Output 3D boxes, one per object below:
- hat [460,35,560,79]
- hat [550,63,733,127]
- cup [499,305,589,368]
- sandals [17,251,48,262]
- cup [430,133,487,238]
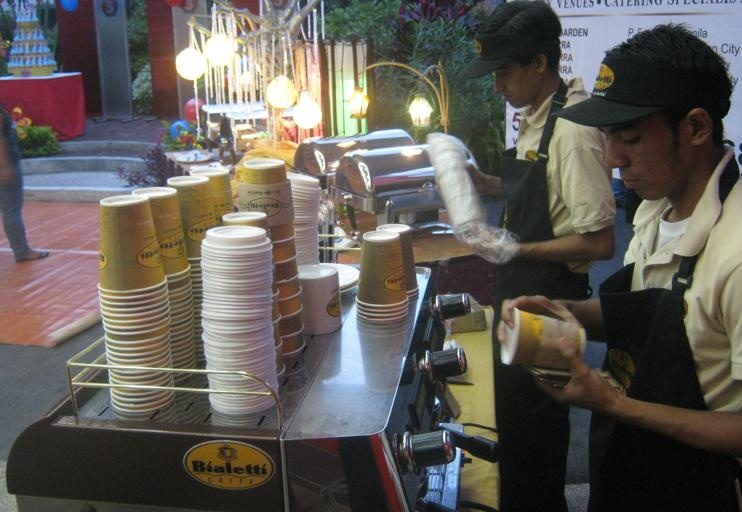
[{"bbox_3d":[0.589,-0.830,2.651,0.273,0.081,0.199,-16,21,13],"label":"hat"},{"bbox_3d":[0.821,-0.502,1.910,0.550,0.167,0.371,-2,19,4],"label":"hat"},{"bbox_3d":[0.489,0.236,1.897,0.249,0.199,0.184,2,21,-11],"label":"cup"},{"bbox_3d":[-3.365,0.002,6.404,0.247,0.097,0.094,-14,35,-32],"label":"sandals"},{"bbox_3d":[0.367,-0.345,2.691,0.161,0.503,0.157,-13,-17,-4],"label":"cup"}]
